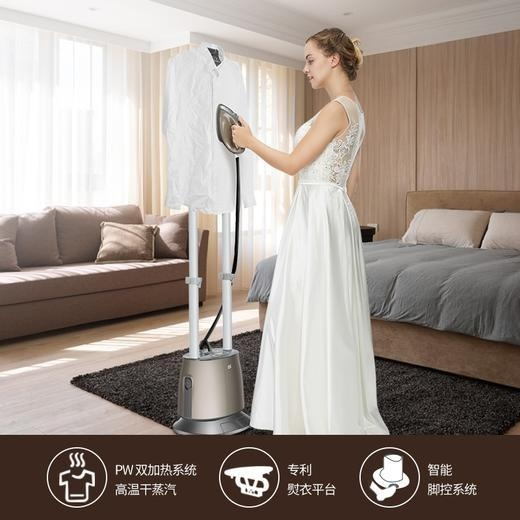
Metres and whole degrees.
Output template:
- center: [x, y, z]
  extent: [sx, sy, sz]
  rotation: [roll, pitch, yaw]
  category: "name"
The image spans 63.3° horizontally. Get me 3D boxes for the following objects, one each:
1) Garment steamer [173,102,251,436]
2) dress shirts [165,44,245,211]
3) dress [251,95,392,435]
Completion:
- center: [-0.176, 0.060, 1.581]
  extent: [0.240, 1.194, 0.256]
  rotation: [3, 13, -8]
  category: "Garment steamer"
- center: [-0.177, -0.461, 1.505]
  extent: [0.288, 0.573, 0.069]
  rotation: [0, 20, -9]
  category: "dress shirts"
- center: [0.212, 0.022, 1.441]
  extent: [0.474, 1.139, 0.263]
  rotation: [1, -2, -1]
  category: "dress"
